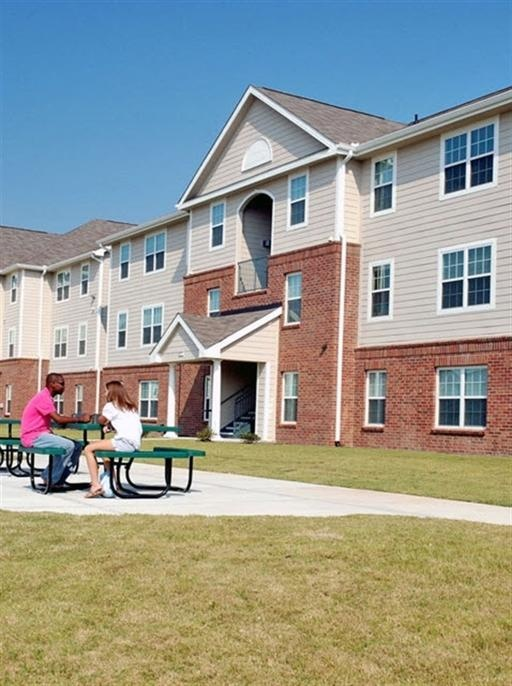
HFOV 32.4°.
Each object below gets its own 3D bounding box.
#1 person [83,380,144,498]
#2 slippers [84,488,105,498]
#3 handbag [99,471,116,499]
[{"bbox_3d":[-1.649,1.148,10.327,0.542,1.369,0.635,6,0,5],"label":"person"},{"bbox_3d":[-1.866,1.756,10.253,0.266,0.100,0.097,-4,-9,20],"label":"slippers"},{"bbox_3d":[-1.777,1.703,10.565,0.109,0.258,0.188,-5,-3,-17],"label":"handbag"}]
